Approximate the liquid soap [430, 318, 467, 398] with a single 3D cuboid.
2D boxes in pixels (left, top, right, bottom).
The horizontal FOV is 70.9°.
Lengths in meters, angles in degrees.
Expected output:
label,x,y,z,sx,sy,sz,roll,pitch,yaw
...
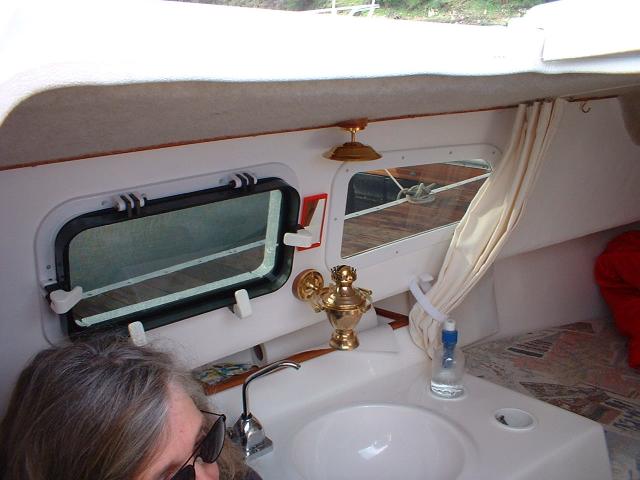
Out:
label,x,y,z,sx,sy,sz,roll,pitch,yaw
liquid soap,0.480,0.439,1.687,0.126,0.260,0.211,4,27,16
